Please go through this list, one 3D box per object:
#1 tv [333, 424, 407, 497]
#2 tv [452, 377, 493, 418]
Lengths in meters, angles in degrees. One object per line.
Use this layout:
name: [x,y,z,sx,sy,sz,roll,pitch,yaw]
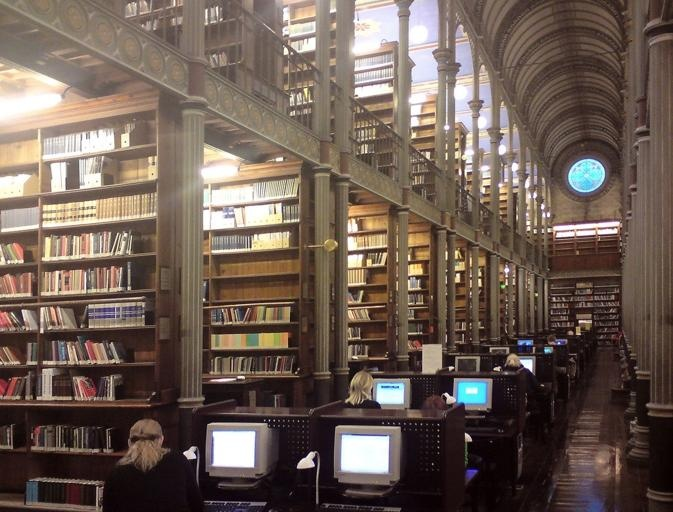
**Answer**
tv: [0.313,1.698,6.797,0.643,0.736,0.537,-2,-9,15]
tv: [1.676,1.747,9.430,0.513,0.582,0.309,0,-23,12]
